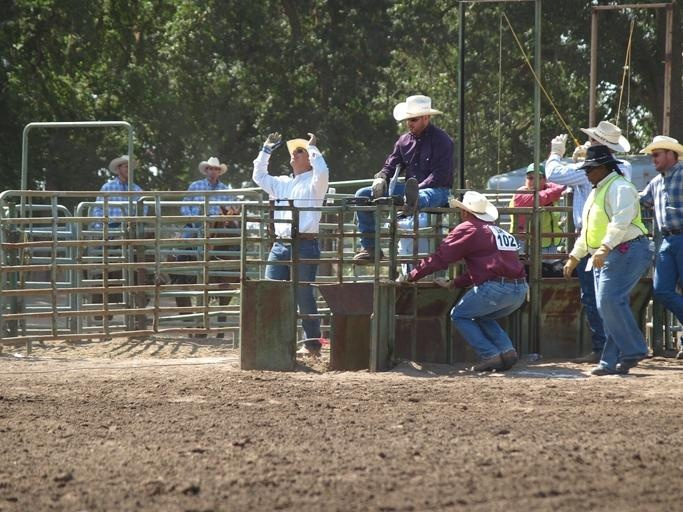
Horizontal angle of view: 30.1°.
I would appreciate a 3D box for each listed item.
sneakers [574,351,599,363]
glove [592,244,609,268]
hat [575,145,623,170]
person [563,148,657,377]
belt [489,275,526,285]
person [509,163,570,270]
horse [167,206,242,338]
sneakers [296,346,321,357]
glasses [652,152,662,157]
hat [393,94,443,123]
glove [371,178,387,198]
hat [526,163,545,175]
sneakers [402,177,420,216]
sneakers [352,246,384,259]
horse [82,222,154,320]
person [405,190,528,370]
[{"bbox_3d":[3.541,1.500,18.597,0.395,0.149,0.134,1,-3,3],"label":"sneakers"},{"bbox_3d":[3.510,0.021,17.303,0.236,0.303,0.112,-2,-4,11],"label":"glove"},{"bbox_3d":[3.561,-1.359,17.647,0.369,0.167,0.410,-10,0,26],"label":"hat"},{"bbox_3d":[3.730,0.064,17.584,1.044,3.188,0.763,-2,-4,13],"label":"person"},{"bbox_3d":[2.328,0.349,17.810,0.540,0.098,0.144,2,-5,-32],"label":"belt"},{"bbox_3d":[3.214,-0.506,20.307,0.755,1.937,0.624,-16,10,-21],"label":"person"},{"bbox_3d":[-2.220,0.212,20.620,0.542,2.198,1.620,3,-3,6],"label":"horse"},{"bbox_3d":[-0.545,1.460,19.213,0.424,0.171,0.141,10,-5,13],"label":"sneakers"},{"bbox_3d":[4.567,-1.462,18.516,0.088,0.046,0.080,3,-3,-20],"label":"glasses"},{"bbox_3d":[1.159,-2.141,18.527,0.610,0.245,0.503,-12,17,-42],"label":"hat"},{"bbox_3d":[0.533,-0.942,18.027,0.212,0.334,0.436,-1,-4,1],"label":"glove"},{"bbox_3d":[3.089,-1.377,20.371,0.240,0.168,0.329,7,-23,14],"label":"hat"},{"bbox_3d":[0.982,-0.812,17.785,0.172,0.480,0.198,9,12,14],"label":"sneakers"},{"bbox_3d":[0.372,-0.024,18.431,0.488,0.184,0.160,4,-6,-37],"label":"sneakers"},{"bbox_3d":[-3.589,0.261,20.742,1.059,1.717,1.916,0,-4,-9],"label":"horse"},{"bbox_3d":[1.874,0.368,17.819,1.413,2.517,0.526,-1,-4,-1],"label":"person"}]
